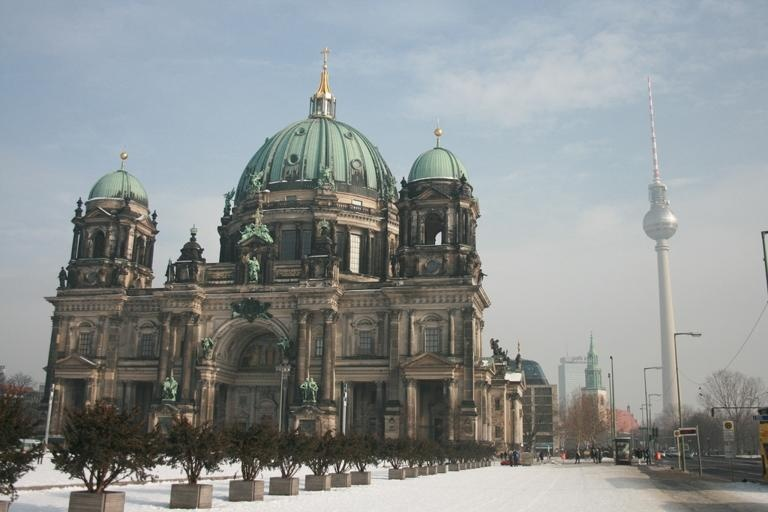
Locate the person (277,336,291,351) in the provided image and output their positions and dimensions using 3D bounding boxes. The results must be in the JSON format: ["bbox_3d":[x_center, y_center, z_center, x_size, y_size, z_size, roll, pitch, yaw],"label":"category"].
[{"bbox_3d":[-11.142,9.957,117.128,1.468,1.767,0.788,-6,-13,-8],"label":"person"}]
